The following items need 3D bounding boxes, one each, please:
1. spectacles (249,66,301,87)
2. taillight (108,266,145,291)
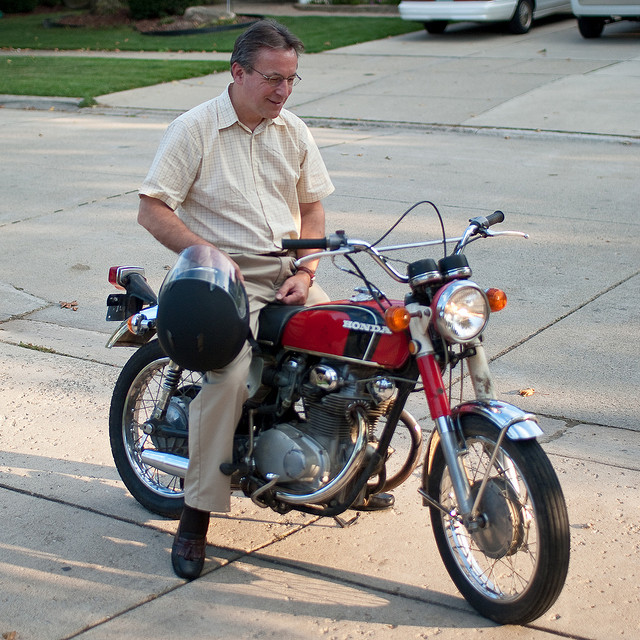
[{"bbox_3d":[-0.180,-0.952,2.934,0.177,0.074,0.079,-5,16,-19],"label":"spectacles"},{"bbox_3d":[-0.911,-0.200,3.463,0.135,0.102,0.181,15,13,35],"label":"taillight"}]
